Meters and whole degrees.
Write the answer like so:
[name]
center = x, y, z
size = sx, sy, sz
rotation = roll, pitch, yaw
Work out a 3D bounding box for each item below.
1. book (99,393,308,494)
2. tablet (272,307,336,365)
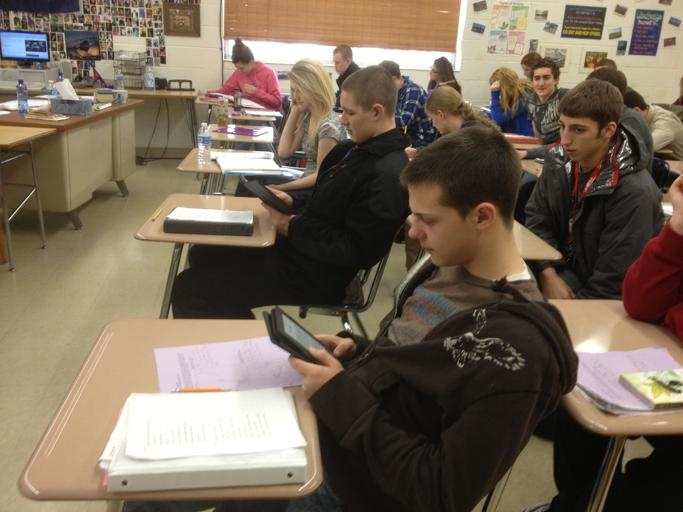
[book]
center = -0.299, 0.404, 1.135
size = 0.430, 0.079, 0.259
rotation = 0, 22, -8
[tablet]
center = -0.099, 0.191, 1.371
size = 0.184, 0.134, 0.192
rotation = 0, 17, -5
